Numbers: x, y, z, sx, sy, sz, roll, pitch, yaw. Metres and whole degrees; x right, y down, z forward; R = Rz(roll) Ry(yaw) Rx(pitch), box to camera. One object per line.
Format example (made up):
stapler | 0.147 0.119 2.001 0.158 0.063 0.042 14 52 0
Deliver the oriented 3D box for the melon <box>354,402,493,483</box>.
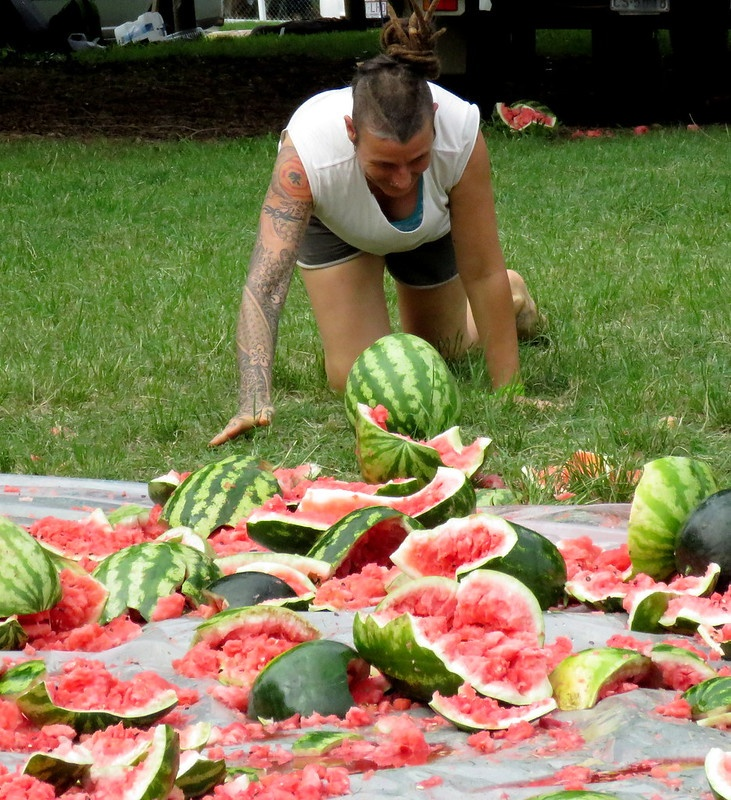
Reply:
melon | 0.167 0.133 3.263 0.269 0.163 0.230 6 -5 -26

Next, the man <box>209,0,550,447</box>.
man | 0.067 -0.707 4.387 1.222 1.569 1.771 -7 36 -4

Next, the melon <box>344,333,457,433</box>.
melon | 0.128 -0.043 3.639 0.339 0.255 0.260 40 3 27

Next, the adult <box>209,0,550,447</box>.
adult | 0.043 -0.943 4.616 1.222 1.569 1.771 -7 36 -4
